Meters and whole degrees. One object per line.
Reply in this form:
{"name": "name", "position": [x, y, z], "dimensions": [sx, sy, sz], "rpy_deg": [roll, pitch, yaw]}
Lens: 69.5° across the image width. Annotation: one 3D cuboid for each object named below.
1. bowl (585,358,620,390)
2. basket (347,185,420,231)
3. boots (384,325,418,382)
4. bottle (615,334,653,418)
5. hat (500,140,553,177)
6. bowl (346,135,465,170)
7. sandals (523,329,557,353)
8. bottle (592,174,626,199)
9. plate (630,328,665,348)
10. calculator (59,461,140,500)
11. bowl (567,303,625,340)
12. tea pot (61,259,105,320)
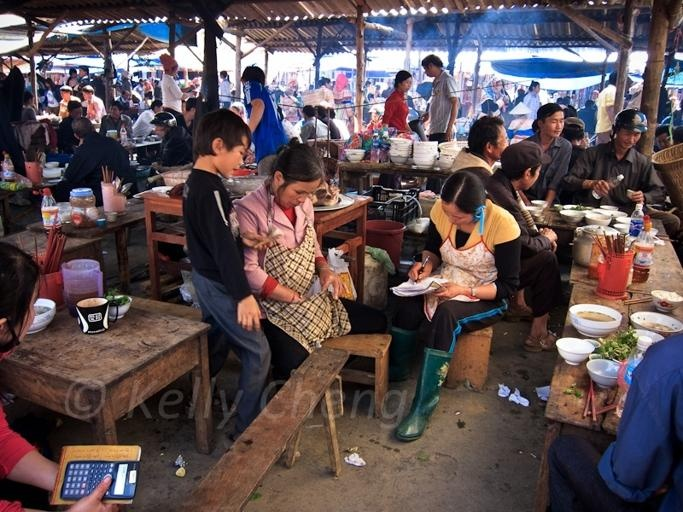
{"name": "bowl", "position": [1.348, 0.604, 2.572], "dimensions": [0.142, 0.080, 0.140], "rpy_deg": [-4, 23, 2]}
{"name": "basket", "position": [0.706, -0.663, 6.373], "dimensions": [0.538, 0.333, 0.801], "rpy_deg": [5, 15, 24]}
{"name": "boots", "position": [0.463, 0.752, 3.938], "dimensions": [0.273, 0.414, 0.240], "rpy_deg": [30, 21, 31]}
{"name": "bottle", "position": [1.275, 0.534, 2.155], "dimensions": [0.162, 0.338, 0.217], "rpy_deg": [11, 24, 19]}
{"name": "hat", "position": [1.469, -0.789, 4.062], "dimensions": [0.337, 0.286, 0.340], "rpy_deg": [-1, 22, -24]}
{"name": "bowl", "position": [1.167, -1.405, 6.574], "dimensions": [1.055, 0.242, 0.691], "rpy_deg": [9, 19, 26]}
{"name": "sandals", "position": [1.754, 0.755, 4.394], "dimensions": [0.306, 0.122, 0.142], "rpy_deg": [-6, 16, -4]}
{"name": "bottle", "position": [2.955, -0.790, 5.451], "dimensions": [0.087, 0.327, 0.100], "rpy_deg": [54, 23, 22]}
{"name": "plate", "position": [1.704, 0.464, 2.749], "dimensions": [0.164, 0.055, 0.157], "rpy_deg": [0, 14, -8]}
{"name": "calculator", "position": [-0.980, 0.904, 1.998], "dimensions": [0.255, 0.034, 0.149], "rpy_deg": [3, 54, -6]}
{"name": "bowl", "position": [1.539, 0.385, 3.001], "dimensions": [0.231, 0.093, 0.227], "rpy_deg": [-1, 16, 0]}
{"name": "tea pot", "position": [-1.487, 0.156, 2.972], "dimensions": [0.357, 0.340, 0.233], "rpy_deg": [2, 11, -4]}
